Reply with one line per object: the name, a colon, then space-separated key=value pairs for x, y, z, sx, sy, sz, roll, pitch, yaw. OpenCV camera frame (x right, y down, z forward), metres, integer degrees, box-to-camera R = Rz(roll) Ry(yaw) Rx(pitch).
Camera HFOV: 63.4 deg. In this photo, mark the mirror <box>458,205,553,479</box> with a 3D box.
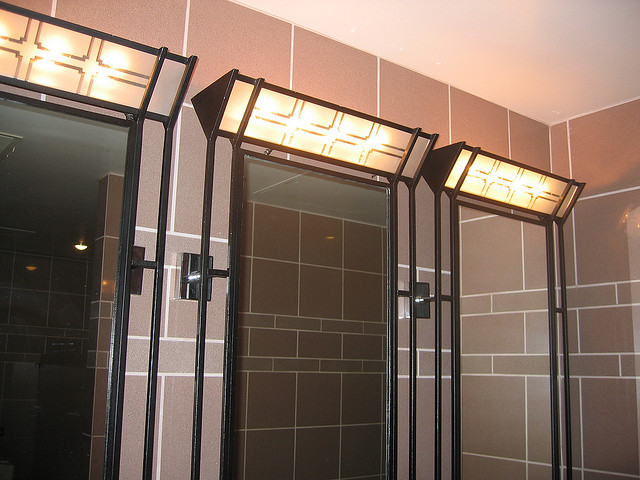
mirror: x=0.793 y=0.438 z=2.217 sx=0.622 sy=1.111 sz=0.097 roll=14 pitch=-11 yaw=-29
